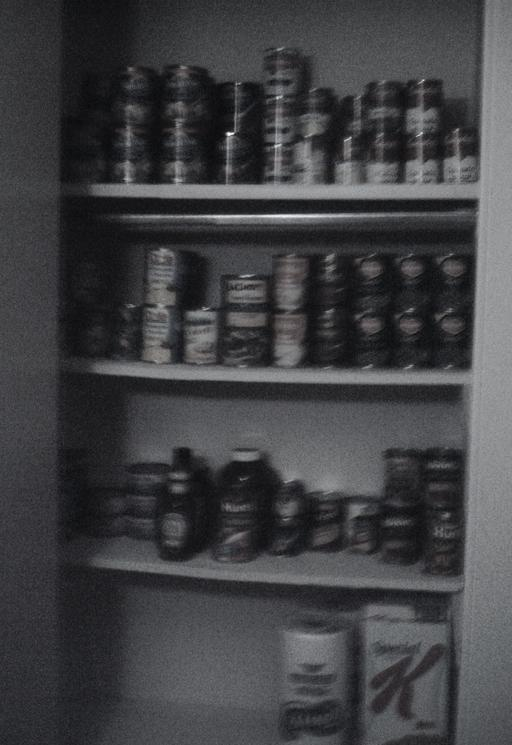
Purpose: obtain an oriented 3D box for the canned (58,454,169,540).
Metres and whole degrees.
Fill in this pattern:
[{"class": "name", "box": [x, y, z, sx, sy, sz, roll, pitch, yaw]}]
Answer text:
[{"class": "canned", "box": [-0.198, 0.166, 1.138, 0.147, 0.085, 0.145, 1, 3, 20]}]
